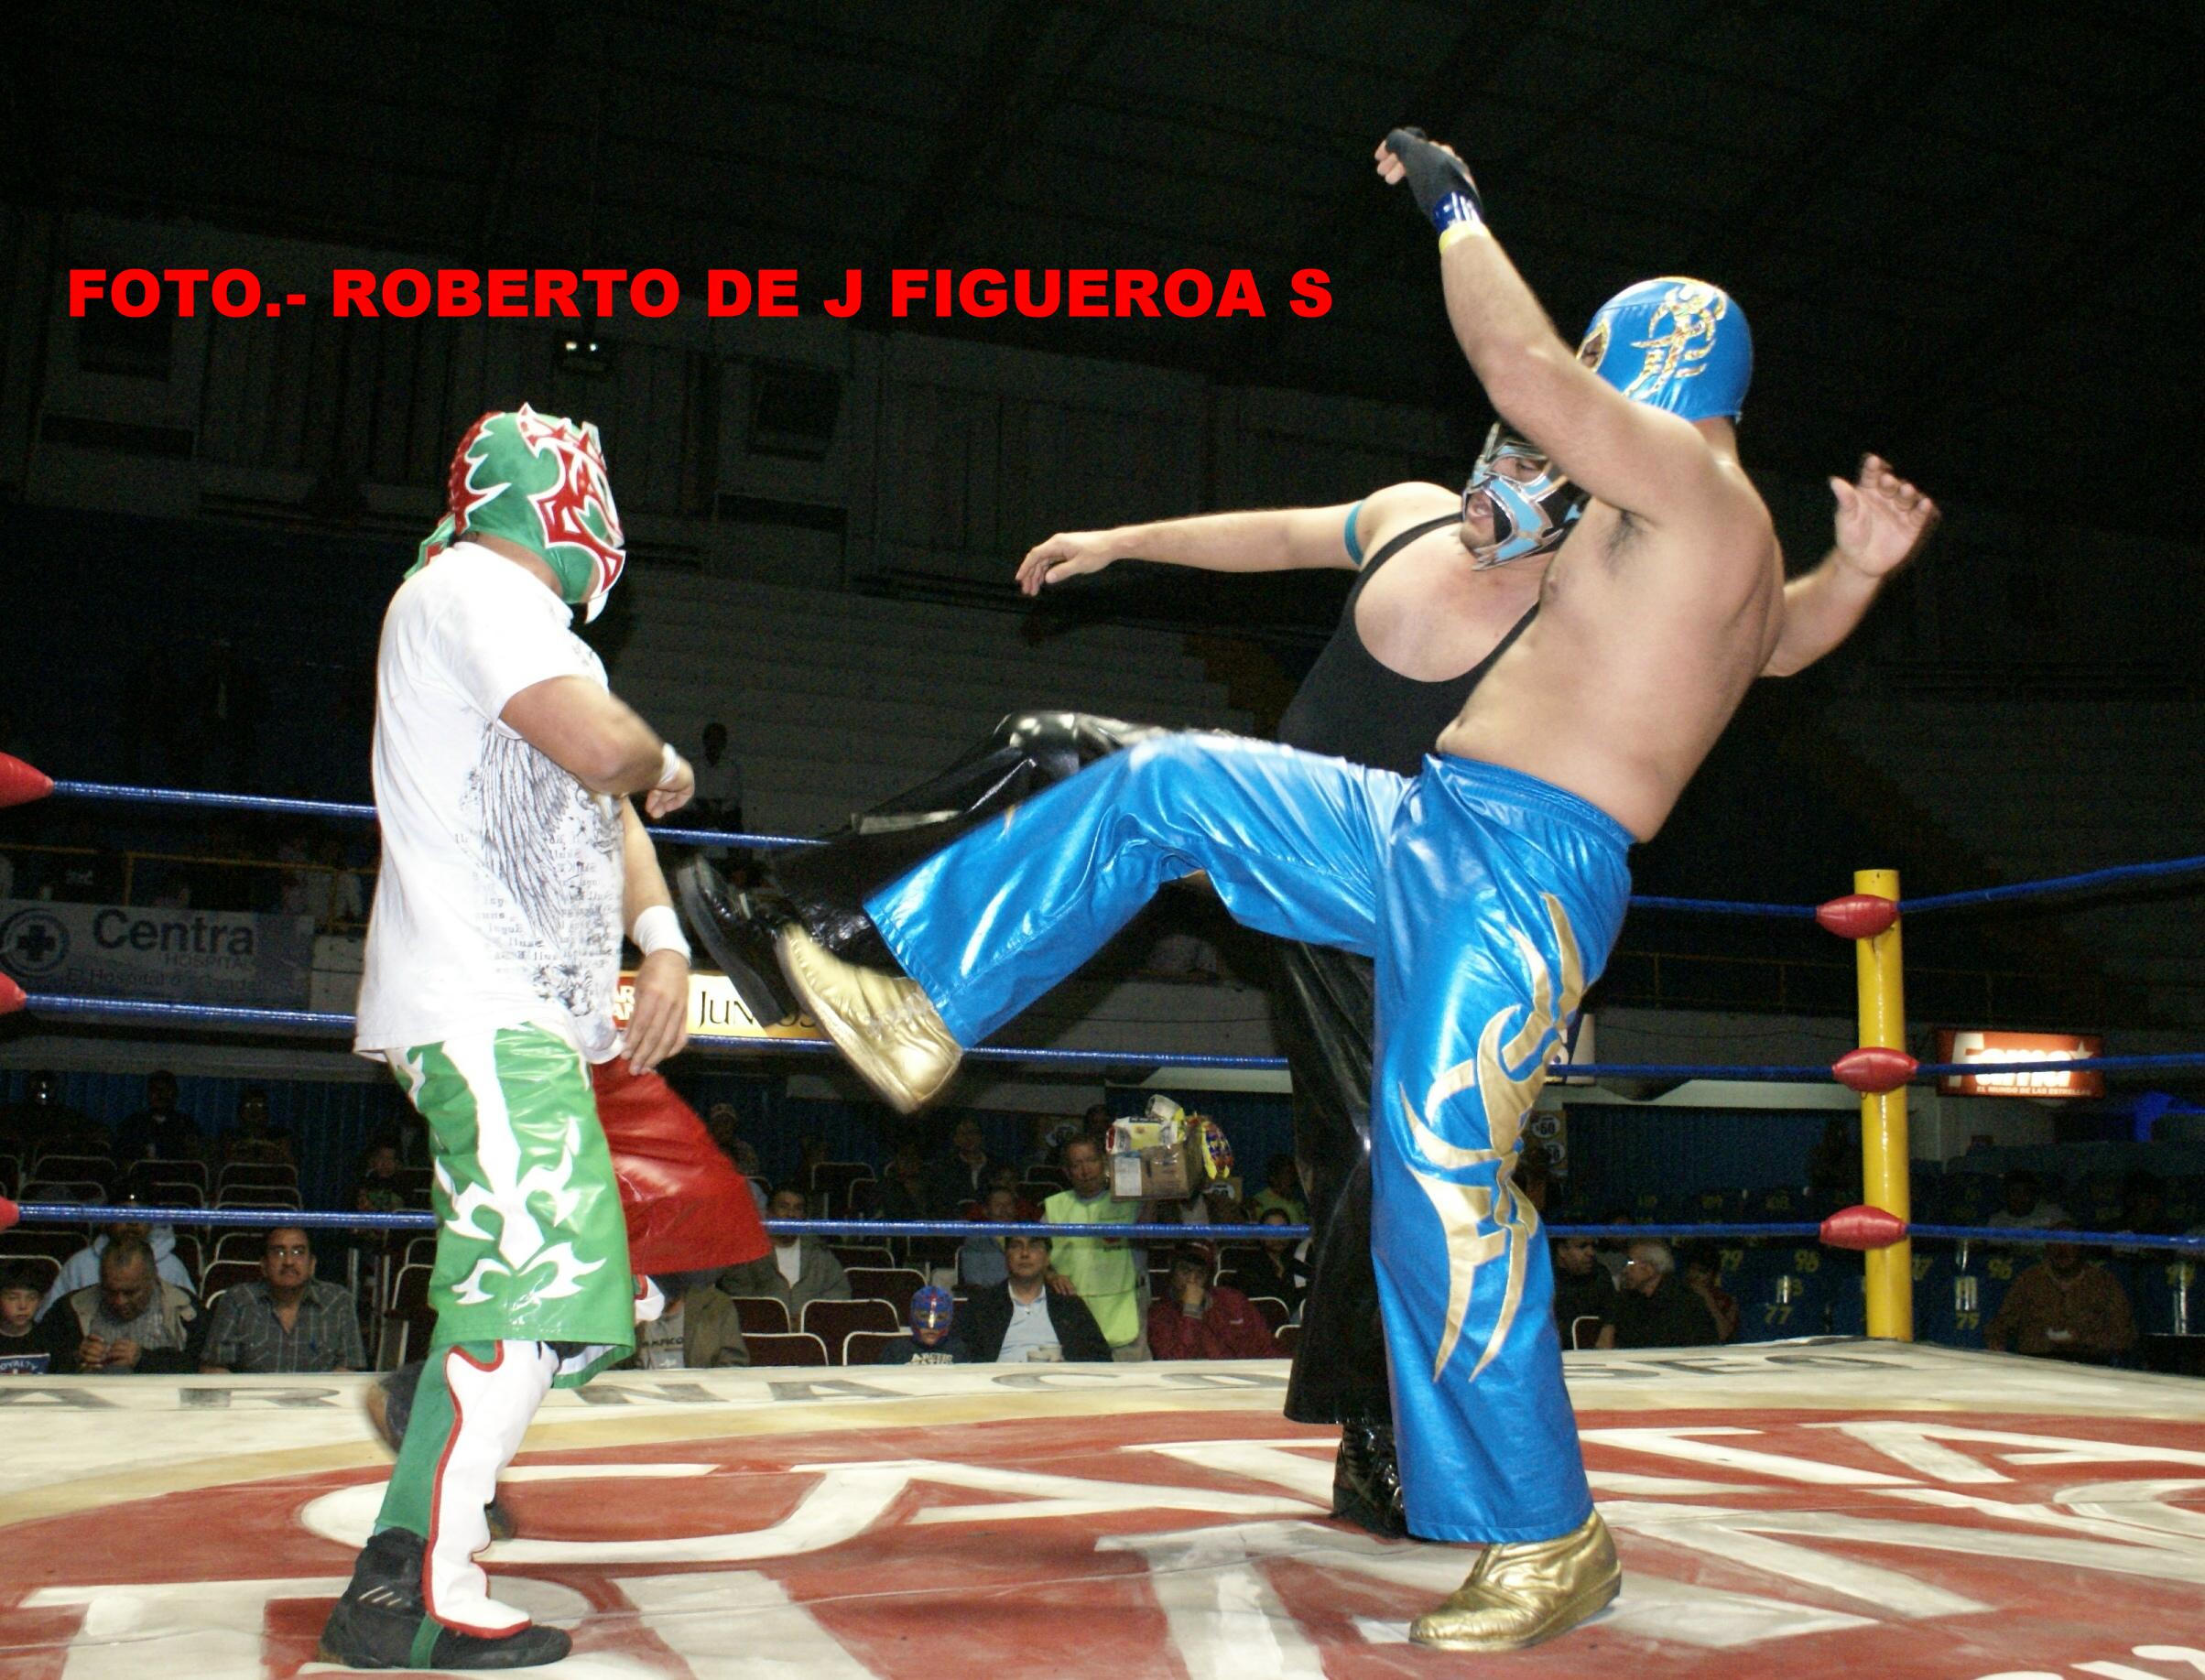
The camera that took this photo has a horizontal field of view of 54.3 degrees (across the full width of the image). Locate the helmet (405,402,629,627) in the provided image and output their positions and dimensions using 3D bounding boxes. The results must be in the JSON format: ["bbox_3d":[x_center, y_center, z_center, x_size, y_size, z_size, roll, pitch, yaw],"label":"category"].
[{"bbox_3d":[-0.777,-0.464,3.045,0.326,0.250,0.291,-7,-2,4],"label":"helmet"}]

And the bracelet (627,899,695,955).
[{"bbox_3d":[-0.632,0.130,3.068,0.089,0.058,0.070,-1,3,-22],"label":"bracelet"}]

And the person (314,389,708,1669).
[{"bbox_3d":[-0.791,0.210,2.896,0.425,1.637,0.439,2,-6,-8],"label":"person"}]

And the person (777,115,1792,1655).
[{"bbox_3d":[0.316,0.106,3.008,1.141,1.880,0.403,-1,-7,23],"label":"person"}]

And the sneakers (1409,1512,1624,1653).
[{"bbox_3d":[0.540,0.980,2.864,0.302,0.171,0.109,-1,-9,-23],"label":"sneakers"}]
